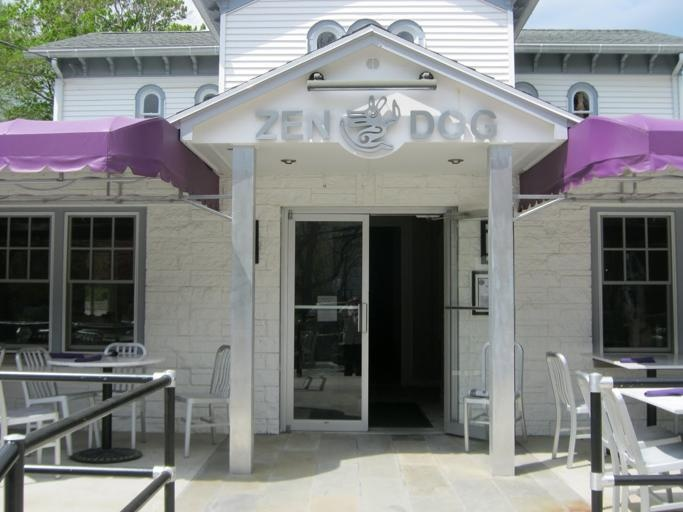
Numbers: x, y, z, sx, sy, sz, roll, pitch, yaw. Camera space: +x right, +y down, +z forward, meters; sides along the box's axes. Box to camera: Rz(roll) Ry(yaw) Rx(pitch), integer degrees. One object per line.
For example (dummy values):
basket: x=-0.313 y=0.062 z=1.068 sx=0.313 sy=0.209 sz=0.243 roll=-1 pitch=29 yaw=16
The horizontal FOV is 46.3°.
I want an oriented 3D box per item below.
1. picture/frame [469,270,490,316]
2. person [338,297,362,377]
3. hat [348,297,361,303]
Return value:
picture/frame: x=2.039 y=0.555 z=11.424 sx=0.024 sy=0.493 sz=0.284 roll=8 pitch=-11 yaw=-30
person: x=0.157 y=1.180 z=11.549 sx=0.269 sy=1.096 sz=0.297 roll=0 pitch=12 yaw=-4
hat: x=0.204 y=0.657 z=11.529 sx=0.111 sy=0.123 sz=0.047 roll=13 pitch=-2 yaw=-1
